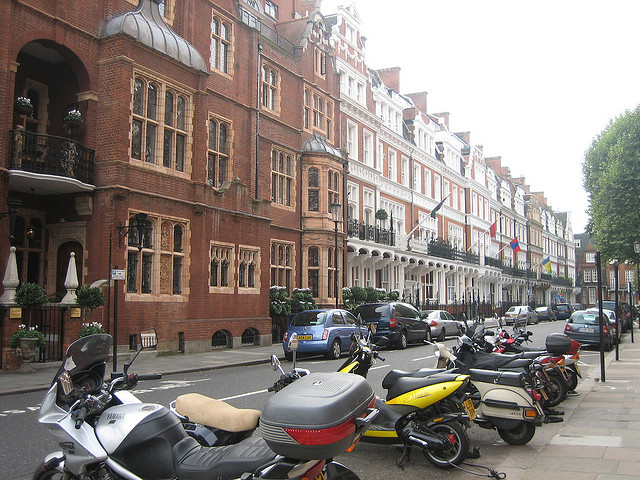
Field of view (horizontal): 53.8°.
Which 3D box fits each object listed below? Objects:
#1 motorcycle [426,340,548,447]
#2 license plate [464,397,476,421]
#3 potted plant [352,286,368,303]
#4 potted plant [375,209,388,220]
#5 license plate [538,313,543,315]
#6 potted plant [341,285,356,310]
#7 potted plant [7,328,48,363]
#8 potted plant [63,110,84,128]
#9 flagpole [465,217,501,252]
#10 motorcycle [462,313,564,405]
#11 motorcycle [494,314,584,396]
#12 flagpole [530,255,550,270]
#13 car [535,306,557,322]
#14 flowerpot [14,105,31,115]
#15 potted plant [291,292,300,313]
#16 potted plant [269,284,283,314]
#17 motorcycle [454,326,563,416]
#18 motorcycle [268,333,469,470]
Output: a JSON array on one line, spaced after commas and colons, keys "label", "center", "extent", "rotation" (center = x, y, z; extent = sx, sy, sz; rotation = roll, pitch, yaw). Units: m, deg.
[{"label": "motorcycle", "center": [2.983, 2.739, 10.523], "extent": [2.316, 1.653, 1.213], "rotation": [5, 0, 36]}, {"label": "license plate", "center": [2.433, 2.762, 10.332], "extent": [0.034, 0.391, 0.342], "rotation": [-7, 8, 43]}, {"label": "potted plant", "center": [2.037, 2.888, 33.209], "extent": [0.631, 0.716, 0.628], "rotation": [-5, 0, -44]}, {"label": "potted plant", "center": [3.811, -1.646, 39.779], "extent": [0.543, 0.633, 0.574], "rotation": [2, -3, -16]}, {"label": "license plate", "center": [18.518, 6.166, 53.114], "extent": [0.303, 0.116, 0.058], "rotation": [-4, -8, 10]}, {"label": "potted plant", "center": [1.464, 2.946, 32.254], "extent": [0.845, 1.338, 1.082], "rotation": [-2, 2, -20]}, {"label": "potted plant", "center": [-7.951, 2.856, 17.323], "extent": [0.913, 1.027, 0.895], "rotation": [3, -12, -14]}, {"label": "potted plant", "center": [-8.000, -3.876, 20.456], "extent": [0.534, 0.621, 0.578], "rotation": [2, -5, 0]}, {"label": "flagpole", "center": [16.059, -0.619, 63.056], "extent": [0.158, 4.768, 0.318], "rotation": [39, 4, 30]}, {"label": "motorcycle", "center": [4.195, 2.332, 13.064], "extent": [1.149, 1.447, 2.169], "rotation": [16, 3, -44]}, {"label": "motorcycle", "center": [4.857, 2.814, 15.094], "extent": [2.775, 2.067, 1.421], "rotation": [-5, -11, 44]}, {"label": "flagpole", "center": [27.919, 2.843, 80.757], "extent": [4.474, 0.449, 0.111], "rotation": [-29, -15, -37]}, {"label": "car", "center": [19.400, 6.298, 54.435], "extent": [1.240, 1.123, 3.140], "rotation": [-4, -4, 32]}, {"label": "flowerpot", "center": [-9.248, -4.066, 19.561], "extent": [0.435, 0.266, 0.454], "rotation": [2, -6, -19]}, {"label": "potted plant", "center": [-1.142, 2.796, 28.521], "extent": [0.374, 0.909, 0.240], "rotation": [-1, -8, -4]}, {"label": "potted plant", "center": [-1.940, 2.598, 27.610], "extent": [0.538, 1.196, 0.597], "rotation": [-1, -8, -4]}, {"label": "motorcycle", "center": [3.618, 2.290, 11.321], "extent": [2.105, 1.509, 1.074], "rotation": [6, -5, 25]}, {"label": "motorcycle", "center": [0.971, 2.728, 10.768], "extent": [3.287, 2.013, 1.779], "rotation": [-5, -5, 40]}]
